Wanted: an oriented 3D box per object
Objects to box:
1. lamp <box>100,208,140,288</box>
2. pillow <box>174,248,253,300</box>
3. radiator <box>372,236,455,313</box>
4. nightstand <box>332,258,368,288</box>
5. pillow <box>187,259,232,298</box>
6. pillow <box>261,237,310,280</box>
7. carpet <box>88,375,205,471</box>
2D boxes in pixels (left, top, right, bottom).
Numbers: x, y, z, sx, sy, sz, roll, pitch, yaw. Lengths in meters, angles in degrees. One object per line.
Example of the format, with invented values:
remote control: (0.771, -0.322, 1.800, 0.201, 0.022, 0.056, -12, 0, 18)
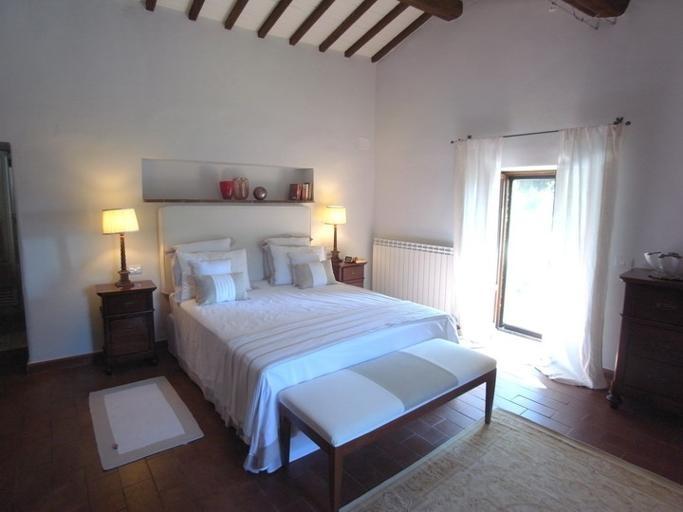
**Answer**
lamp: (-2.266, -0.088, 4.886, 0.324, 0.789, 0.413, -5, 11, -27)
pillow: (-1.558, 0.278, 5.207, 0.598, 0.587, 0.151, 1, -19, -17)
radiator: (0.951, 0.239, 5.976, 0.039, 0.763, 0.852, -11, 15, -42)
nightstand: (0.069, 0.202, 6.347, 0.485, 0.510, 0.328, -8, 12, -43)
pillow: (-1.376, 0.252, 4.851, 0.345, 0.246, 0.123, -7, -20, -34)
pillow: (-0.776, 0.055, 5.874, 0.510, 0.538, 0.157, 1, -20, -19)
carpet: (-1.721, 1.348, 4.085, 0.766, 1.123, 0.141, -14, 41, -14)
